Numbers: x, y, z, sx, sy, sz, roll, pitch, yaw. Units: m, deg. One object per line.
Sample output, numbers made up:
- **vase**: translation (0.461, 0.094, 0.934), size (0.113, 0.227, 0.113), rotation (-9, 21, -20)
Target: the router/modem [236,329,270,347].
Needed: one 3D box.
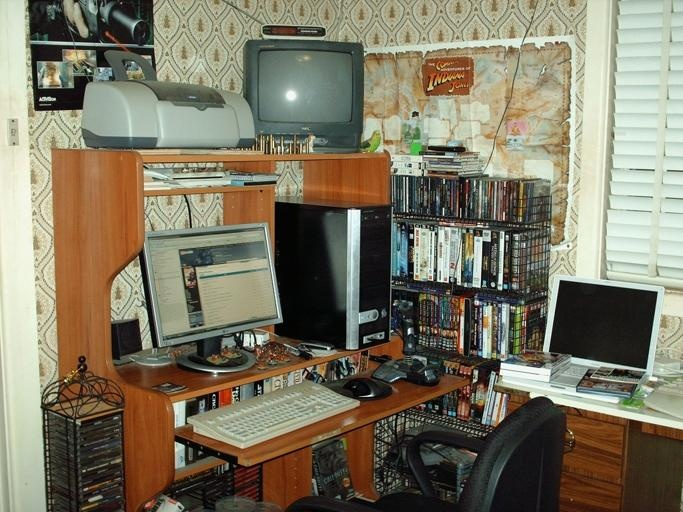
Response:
- **router/modem**: translation (-0.379, 0.336, 2.399), size (0.076, 0.048, 0.108), rotation (2, 4, 29)

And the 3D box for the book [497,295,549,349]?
- **book**: translation (0.882, 0.326, 2.736), size (0.152, 0.239, 0.283), rotation (6, 9, 44)

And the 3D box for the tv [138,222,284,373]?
- **tv**: translation (-0.508, 0.175, 2.192), size (0.327, 0.478, 0.571), rotation (11, 12, 36)

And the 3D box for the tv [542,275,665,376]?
- **tv**: translation (1.209, 0.225, 2.550), size (0.551, 0.353, 0.394), rotation (9, 5, 27)

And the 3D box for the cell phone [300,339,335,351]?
- **cell phone**: translation (-0.095, 0.380, 2.387), size (0.095, 0.020, 0.052), rotation (4, 7, 21)

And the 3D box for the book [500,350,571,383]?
- **book**: translation (0.814, 0.471, 2.380), size (0.153, 0.035, 0.163), rotation (5, 13, 30)

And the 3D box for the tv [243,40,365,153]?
- **tv**: translation (-0.191, -0.751, 2.587), size (0.635, 0.524, 0.345), rotation (-4, 9, -27)
